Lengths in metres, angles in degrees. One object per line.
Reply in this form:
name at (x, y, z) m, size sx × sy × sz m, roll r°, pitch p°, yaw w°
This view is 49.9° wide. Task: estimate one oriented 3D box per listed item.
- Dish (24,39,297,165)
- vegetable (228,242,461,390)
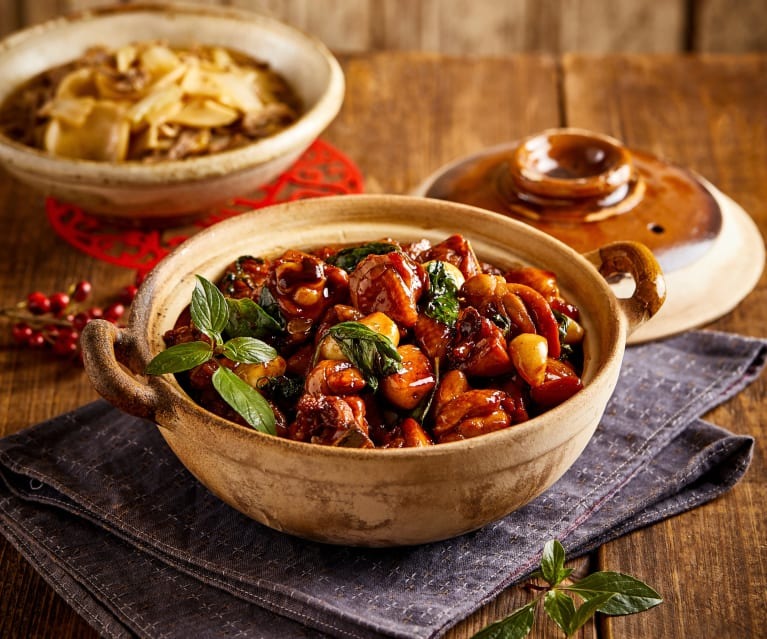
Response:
Dish at (-0.480, -0.504, 1.873) m, size 0.566 × 0.084 × 0.547 m, roll 0°, pitch 39°, yaw -4°
vegetable at (-0.054, -0.018, 1.223) m, size 0.298 × 0.091 × 0.257 m, roll -13°, pitch 34°, yaw -22°
